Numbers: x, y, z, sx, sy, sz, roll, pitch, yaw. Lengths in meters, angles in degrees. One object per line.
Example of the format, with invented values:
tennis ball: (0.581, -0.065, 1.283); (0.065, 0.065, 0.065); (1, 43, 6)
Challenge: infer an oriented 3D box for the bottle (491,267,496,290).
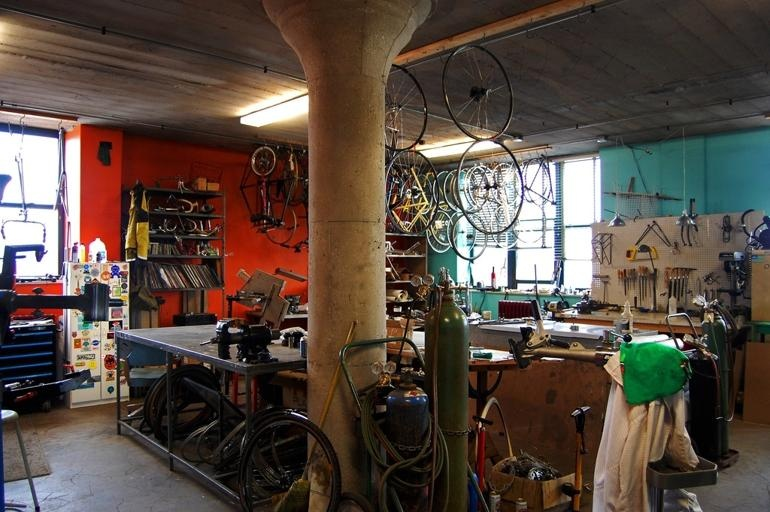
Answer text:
bottle: (2.054, 0.413, 11.174); (0.102, 0.366, 0.422); (-1, 0, 10)

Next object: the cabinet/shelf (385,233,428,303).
cabinet/shelf: (0.382, 0.201, 10.816); (0.837, 1.332, 2.848); (-1, 0, 4)

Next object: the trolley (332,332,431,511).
trolley: (0.041, 1.432, 5.007); (0.792, 1.479, 0.738); (1, -1, -27)

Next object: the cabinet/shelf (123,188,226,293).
cabinet/shelf: (-3.160, -0.269, 8.949); (1.508, 1.549, 0.667); (0, 2, -39)

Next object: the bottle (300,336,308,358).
bottle: (-0.790, 0.886, 5.664); (0.065, 0.194, 0.284); (-2, 0, -12)
